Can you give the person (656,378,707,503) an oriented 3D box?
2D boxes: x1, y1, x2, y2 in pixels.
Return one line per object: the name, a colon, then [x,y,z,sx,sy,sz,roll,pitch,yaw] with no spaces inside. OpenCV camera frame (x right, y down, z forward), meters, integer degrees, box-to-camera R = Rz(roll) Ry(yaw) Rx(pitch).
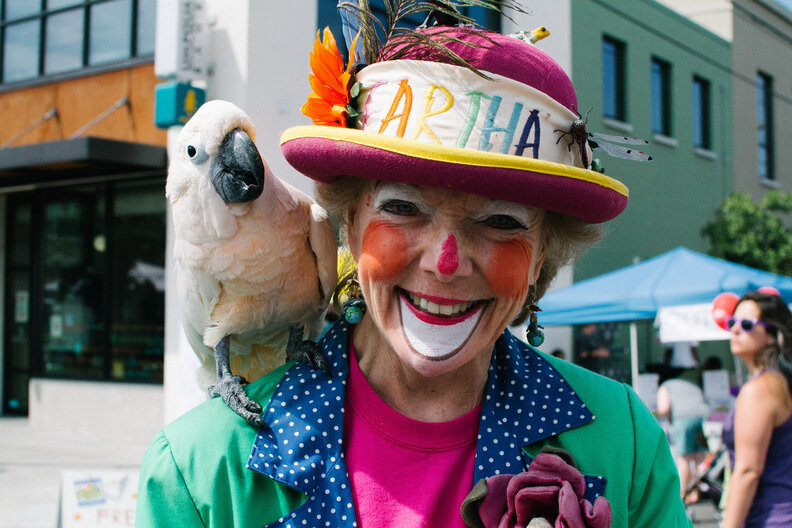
person: [3.928,2.441,17.692,0.558,1.801,0.733,-10,25,-35]
